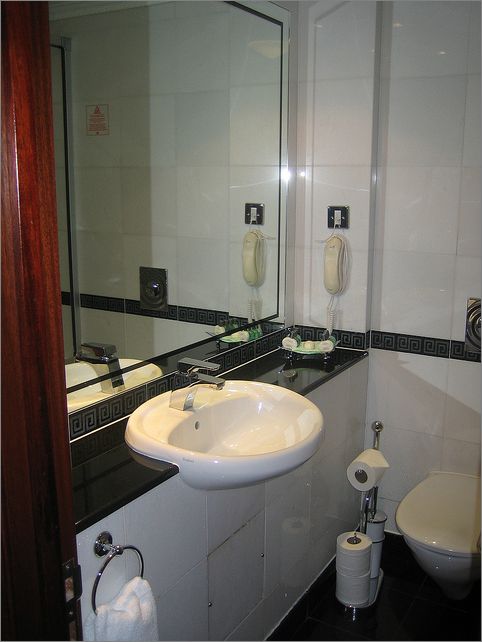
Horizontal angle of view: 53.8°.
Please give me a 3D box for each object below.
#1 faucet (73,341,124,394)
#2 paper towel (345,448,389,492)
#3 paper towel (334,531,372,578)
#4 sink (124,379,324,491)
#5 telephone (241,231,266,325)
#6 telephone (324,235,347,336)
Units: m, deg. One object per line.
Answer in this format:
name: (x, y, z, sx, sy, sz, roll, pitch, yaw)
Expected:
faucet: (-0.443, 0.144, 1.478, 0.122, 0.160, 0.079, 2, 11, 25)
paper towel: (0.577, 0.679, 2.129, 0.148, 0.156, 0.119, 0, -11, -41)
paper towel: (0.484, 1.027, 2.077, 0.131, 0.200, 0.155, 0, 7, 8)
sink: (-0.020, 0.309, 1.330, 0.484, 0.201, 0.516, 3, 13, 27)
telephone: (0.053, -0.208, 2.267, 0.083, 0.495, 0.085, 7, 37, 13)
telephone: (0.484, -0.184, 2.448, 0.117, 0.608, 0.097, 25, 46, 33)
